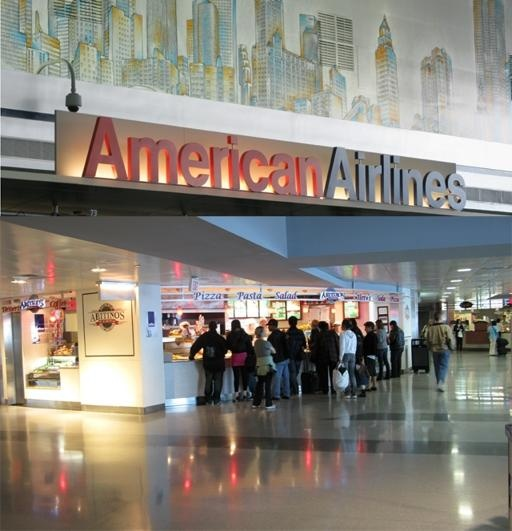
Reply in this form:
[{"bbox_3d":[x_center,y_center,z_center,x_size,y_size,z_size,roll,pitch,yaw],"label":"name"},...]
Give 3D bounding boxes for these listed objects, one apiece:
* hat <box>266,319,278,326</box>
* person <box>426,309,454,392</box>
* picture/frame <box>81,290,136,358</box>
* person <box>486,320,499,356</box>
[{"bbox_3d":[0.339,1.144,11.869,0.174,0.140,0.359,-2,-5,-2],"label":"hat"},{"bbox_3d":[3.836,1.795,12.314,0.534,1.629,1.724,-4,-5,17],"label":"person"},{"bbox_3d":[-2.912,1.221,11.941,1.264,1.538,0.203,-3,-6,22],"label":"picture/frame"},{"bbox_3d":[10.033,3.066,25.013,0.464,1.436,1.827,-4,-5,22],"label":"person"}]
